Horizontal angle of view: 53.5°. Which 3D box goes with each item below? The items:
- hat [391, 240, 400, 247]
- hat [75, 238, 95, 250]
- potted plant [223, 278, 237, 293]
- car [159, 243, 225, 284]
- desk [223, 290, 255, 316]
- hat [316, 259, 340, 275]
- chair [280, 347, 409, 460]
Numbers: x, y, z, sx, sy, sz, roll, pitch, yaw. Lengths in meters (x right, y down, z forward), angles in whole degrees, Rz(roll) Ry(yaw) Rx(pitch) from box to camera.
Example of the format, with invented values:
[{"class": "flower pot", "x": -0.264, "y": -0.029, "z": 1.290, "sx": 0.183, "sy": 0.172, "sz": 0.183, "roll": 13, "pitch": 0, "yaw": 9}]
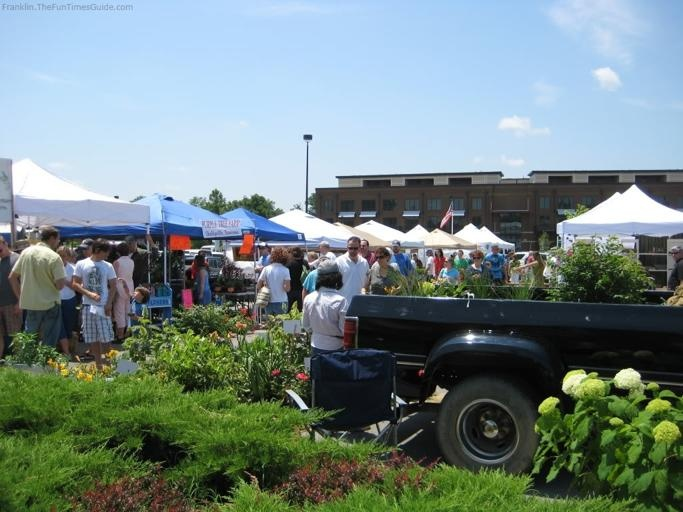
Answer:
[{"class": "hat", "x": 1.073, "y": -0.242, "z": 13.423, "sx": 0.121, "sy": 0.153, "sz": 0.171, "roll": -6, "pitch": 9, "yaw": 0}, {"class": "hat", "x": -5.448, "y": -0.279, "z": 14.370, "sx": 0.263, "sy": 0.149, "sz": 0.421, "roll": 8, "pitch": 13, "yaw": -2}, {"class": "potted plant", "x": -2.782, "y": 0.748, "z": 16.707, "sx": 0.257, "sy": 0.216, "sz": 0.272, "roll": -1, "pitch": 0, "yaw": 23}, {"class": "car", "x": -4.167, "y": 0.227, "z": 19.132, "sx": 1.210, "sy": 1.289, "sz": 2.178, "roll": -2, "pitch": -6, "yaw": 14}, {"class": "desk", "x": -2.737, "y": 1.135, "z": 17.867, "sx": 0.567, "sy": 0.208, "sz": 0.812, "roll": -8, "pitch": 13, "yaw": -44}, {"class": "hat", "x": -0.137, "y": 0.116, "z": 7.240, "sx": 0.180, "sy": 0.108, "sz": 0.134, "roll": 4, "pitch": 8, "yaw": 36}, {"class": "chair", "x": -0.013, "y": 1.255, "z": 6.369, "sx": 0.918, "sy": 1.400, "sz": 0.961, "roll": 1, "pitch": 0, "yaw": -3}]
